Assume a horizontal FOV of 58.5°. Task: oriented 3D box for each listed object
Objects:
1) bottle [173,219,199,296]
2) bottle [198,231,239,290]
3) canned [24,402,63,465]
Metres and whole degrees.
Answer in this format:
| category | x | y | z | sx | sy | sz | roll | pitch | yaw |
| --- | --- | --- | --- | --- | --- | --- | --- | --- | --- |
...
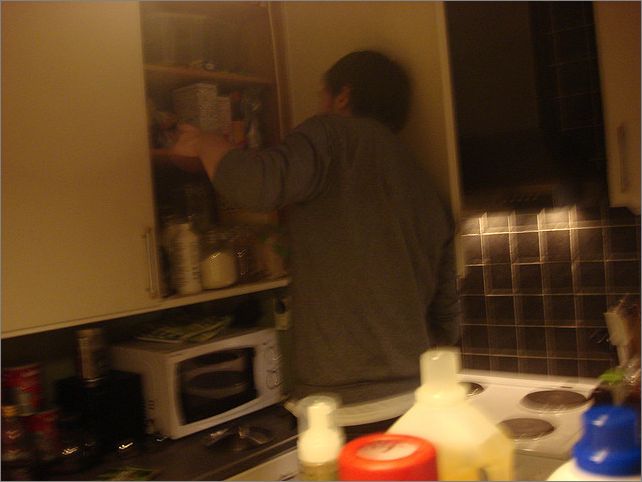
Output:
| category | x | y | z | sx | sy | sz | roll | pitch | yaw |
| --- | --- | --- | --- | --- | --- | --- | --- | --- | --- |
| bottle | -0.159 | 0.022 | 0.676 | 0.035 | 0.087 | 0.012 | -6 | 7 | 18 |
| bottle | -0.122 | 0.022 | 0.675 | 0.040 | 0.071 | 0.015 | -12 | 7 | -37 |
| canned | -0.353 | 0.255 | 0.735 | 0.037 | 0.086 | 0.057 | -11 | 7 | -28 |
